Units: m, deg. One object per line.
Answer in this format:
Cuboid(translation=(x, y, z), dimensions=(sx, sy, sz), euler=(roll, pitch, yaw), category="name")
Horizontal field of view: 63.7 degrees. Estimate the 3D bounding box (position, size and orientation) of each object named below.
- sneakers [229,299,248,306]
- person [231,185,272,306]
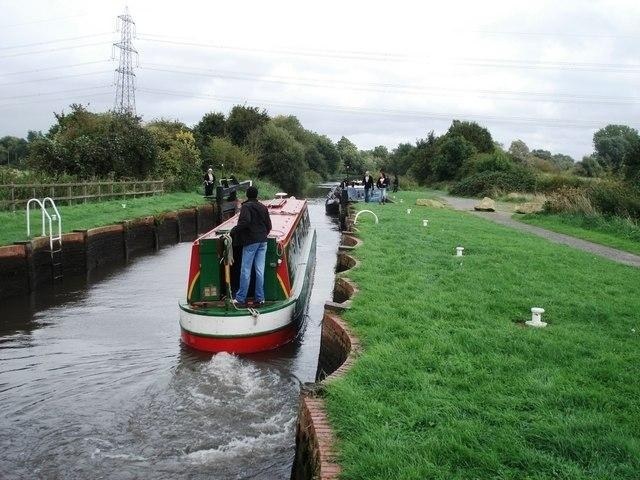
Cuboid(translation=(-1.521, 1.183, 9.670), dimensions=(0.317, 0.165, 0.125), euler=(-1, 10, -6), category="sneakers")
Cuboid(translation=(-1.317, 0.149, 9.670), dimensions=(0.570, 2.173, 0.955), euler=(5, 11, 24), category="person")
